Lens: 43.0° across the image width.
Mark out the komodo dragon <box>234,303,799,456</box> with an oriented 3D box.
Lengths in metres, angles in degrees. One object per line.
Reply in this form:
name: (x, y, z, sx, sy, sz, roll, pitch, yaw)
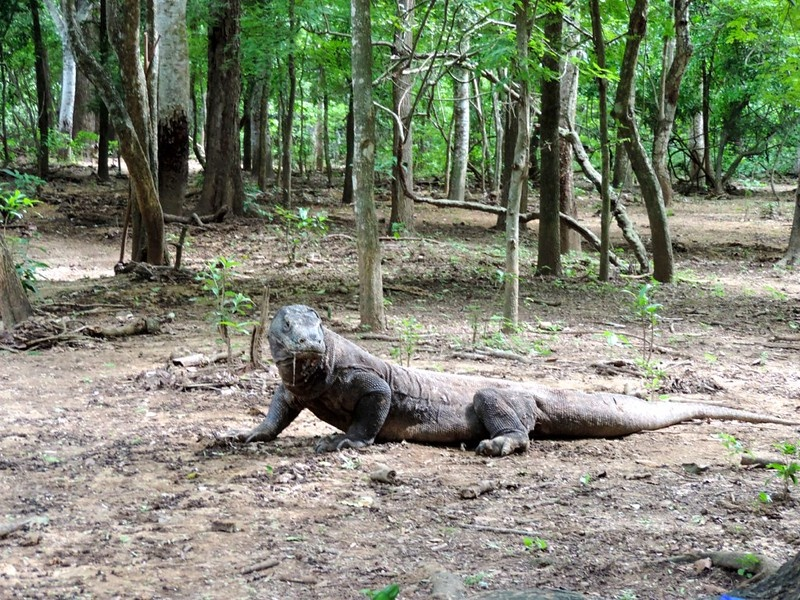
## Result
komodo dragon: (1.491, 1.171, 12.217, 6.171, 1.224, 1.803, 3, -6, -8)
